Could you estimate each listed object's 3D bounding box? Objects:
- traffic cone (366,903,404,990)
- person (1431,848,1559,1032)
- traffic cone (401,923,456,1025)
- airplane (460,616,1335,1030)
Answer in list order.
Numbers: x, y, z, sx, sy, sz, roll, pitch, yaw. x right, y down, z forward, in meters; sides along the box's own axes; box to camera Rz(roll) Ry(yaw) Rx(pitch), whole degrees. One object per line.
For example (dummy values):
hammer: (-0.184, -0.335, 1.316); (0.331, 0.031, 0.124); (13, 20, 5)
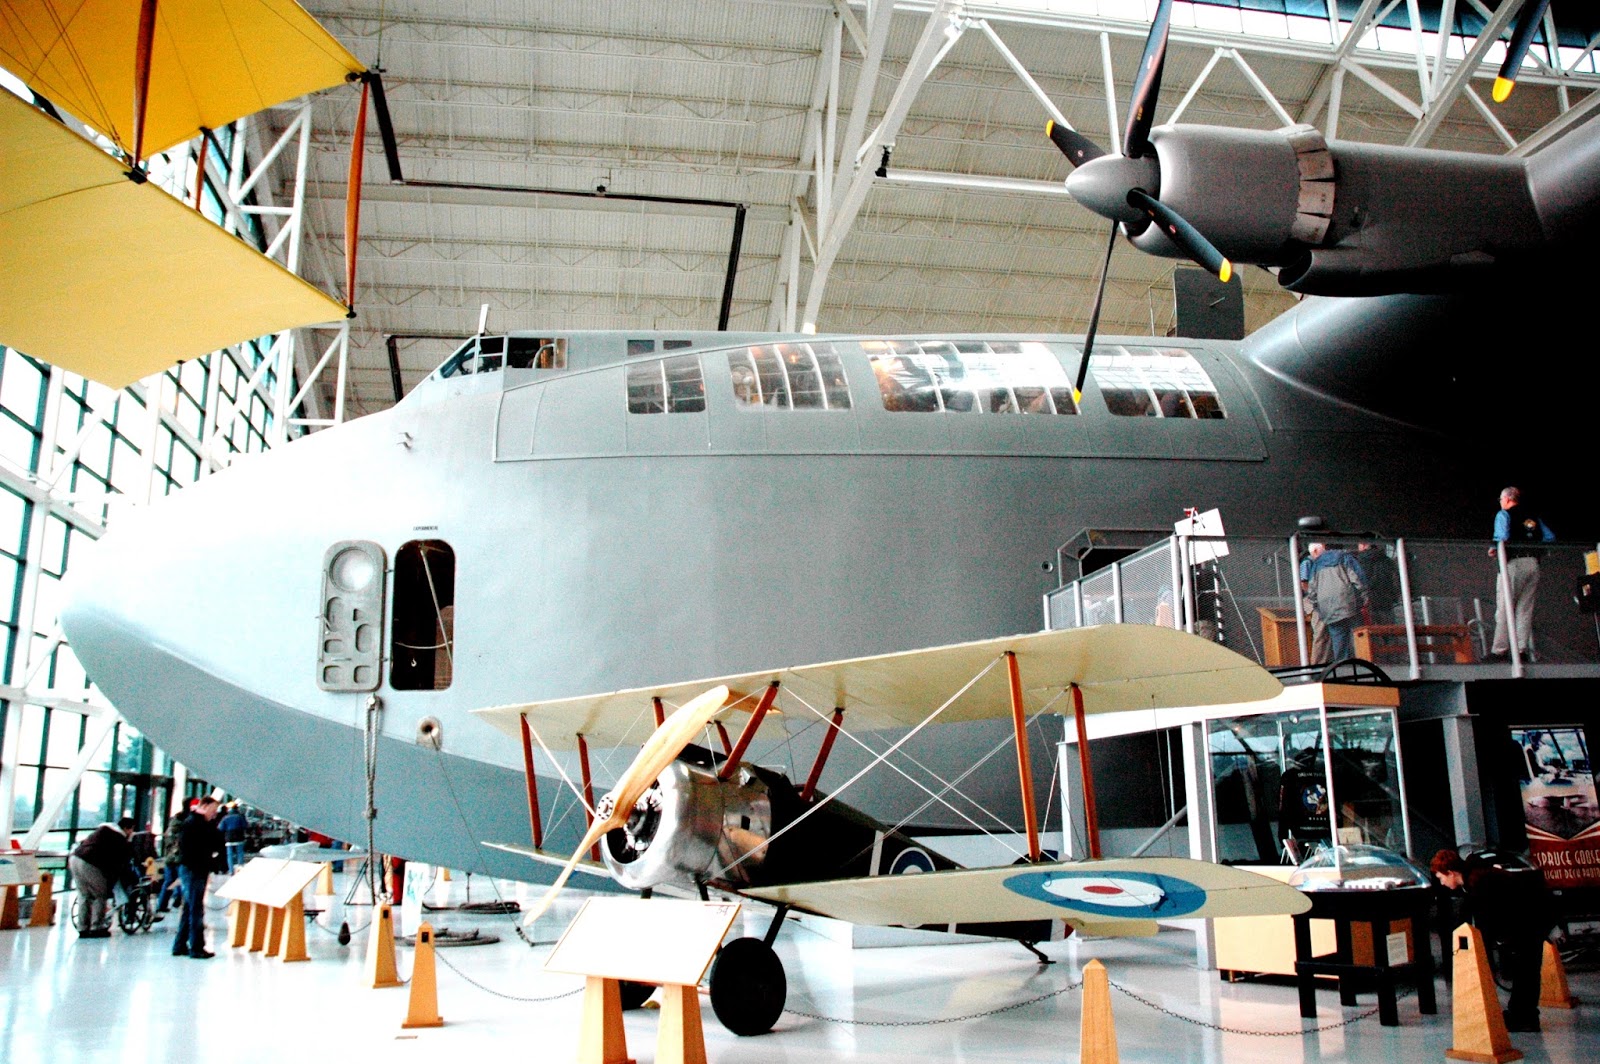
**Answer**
traffic cone: (-4.722, 4.659, 14.438); (0.349, 0.915, 1.033); (2, -15, -18)
person: (6.950, 4.030, 12.781); (0.783, 1.645, 1.097); (-3, -11, -41)
traffic cone: (-3.882, 4.529, 13.135); (0.417, 0.964, 1.236); (1, -14, -16)
airplane: (0.886, 2.619, 12.709); (7.333, 2.689, 2.327); (-7, -14, 15)
